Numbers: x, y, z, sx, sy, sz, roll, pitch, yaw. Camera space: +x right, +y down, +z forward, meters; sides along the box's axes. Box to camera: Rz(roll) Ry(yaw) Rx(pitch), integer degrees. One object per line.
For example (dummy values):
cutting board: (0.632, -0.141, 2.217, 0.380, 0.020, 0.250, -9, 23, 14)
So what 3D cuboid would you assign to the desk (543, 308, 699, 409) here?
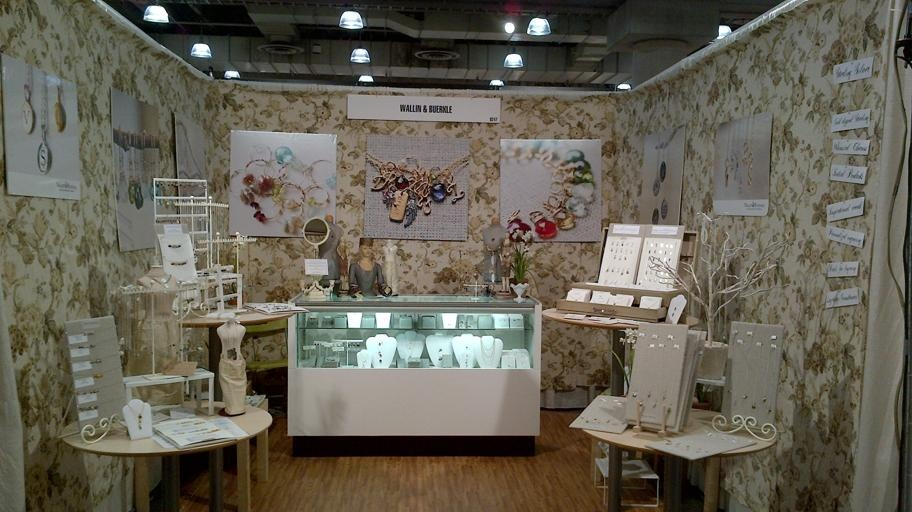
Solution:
desk: (1.370, 0.766, 5.728, 1.031, 0.990, 1.015, 0, -1, 11)

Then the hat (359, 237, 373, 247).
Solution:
hat: (-0.915, -0.140, 6.475, 0.133, 0.091, 0.207, 2, -3, -11)

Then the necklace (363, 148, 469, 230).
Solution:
necklace: (-0.494, -0.771, 6.985, 0.933, 0.683, 0.160, 1, 0, -4)

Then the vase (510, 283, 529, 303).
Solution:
vase: (0.641, 0.374, 6.331, 0.180, 0.180, 0.181, 0, 2, -1)

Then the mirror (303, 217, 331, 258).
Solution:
mirror: (-1.439, -0.183, 6.429, 0.263, 0.384, 0.513, 2, -2, -27)

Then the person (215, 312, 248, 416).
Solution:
person: (-1.653, 0.813, 4.682, 0.200, 0.689, 0.246, 2, -1, -19)

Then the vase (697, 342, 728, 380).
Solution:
vase: (1.861, 0.771, 4.667, 0.267, 0.275, 0.264, 1, -3, -2)

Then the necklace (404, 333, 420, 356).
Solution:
necklace: (-0.427, 0.873, 6.158, 0.223, 0.269, 0.102, 0, -2, -4)
